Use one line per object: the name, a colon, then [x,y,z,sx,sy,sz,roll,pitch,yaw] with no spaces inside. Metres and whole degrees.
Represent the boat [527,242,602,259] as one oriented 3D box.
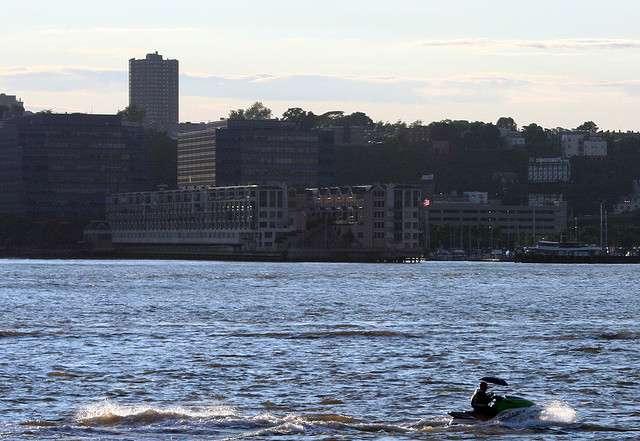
boat: [62.626,7.319,459.900,22.156,4.162,5.583,1,-2,1]
